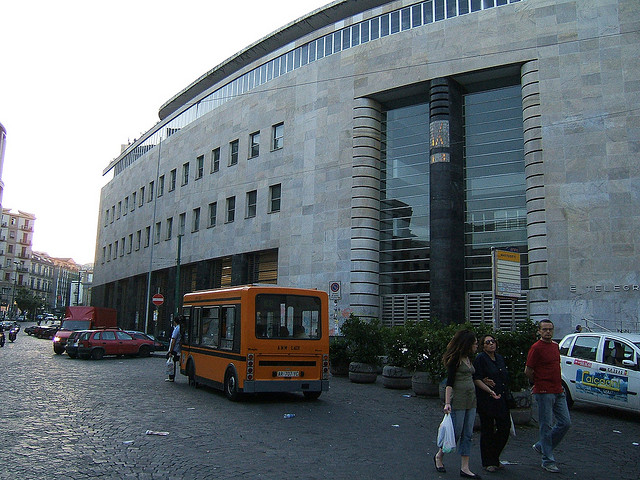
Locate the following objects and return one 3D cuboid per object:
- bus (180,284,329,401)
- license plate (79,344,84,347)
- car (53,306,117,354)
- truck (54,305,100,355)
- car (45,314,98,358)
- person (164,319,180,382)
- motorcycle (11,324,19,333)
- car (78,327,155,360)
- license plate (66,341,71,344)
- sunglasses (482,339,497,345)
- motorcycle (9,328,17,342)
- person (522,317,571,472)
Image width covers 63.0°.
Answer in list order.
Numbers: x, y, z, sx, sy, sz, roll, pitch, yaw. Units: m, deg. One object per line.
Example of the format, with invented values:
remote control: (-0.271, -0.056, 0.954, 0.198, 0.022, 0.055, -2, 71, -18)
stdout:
bus: (-2.318, 3.332, 17.195, 3.344, 3.061, 5.735, 7, -11, -32)
license plate: (-12.377, 5.504, 27.146, 0.179, 0.120, 0.096, 6, 2, -18)
car: (-16.011, 6.019, 35.981, 2.422, 2.697, 4.815, 0, -5, -1)
truck: (-16.028, 5.804, 35.118, 2.422, 2.701, 4.730, 7, -1, -15)
car: (-13.279, 5.060, 28.760, 1.811, 1.706, 3.299, 5, 1, -14)
person: (-5.273, 3.972, 18.772, 0.444, 2.179, 0.719, 3, -10, -16)
motorcycle: (-24.243, 7.183, 41.605, 0.569, 0.229, 0.839, -1, 8, -28)
car: (-11.297, 5.658, 28.621, 3.119, 1.114, 1.452, 2, -5, -39)
license plate: (-13.139, 5.400, 27.381, 0.085, 0.131, 0.397, 9, -13, -41)
sunglasses: (2.906, 1.745, 8.906, 0.224, 0.083, 0.123, 3, -10, -14)
motorcycle: (-23.191, 7.263, 39.437, 0.380, 0.940, 1.090, 5, -11, -28)
person: (3.946, 2.687, 9.129, 0.712, 2.509, 0.424, -1, -10, 5)
